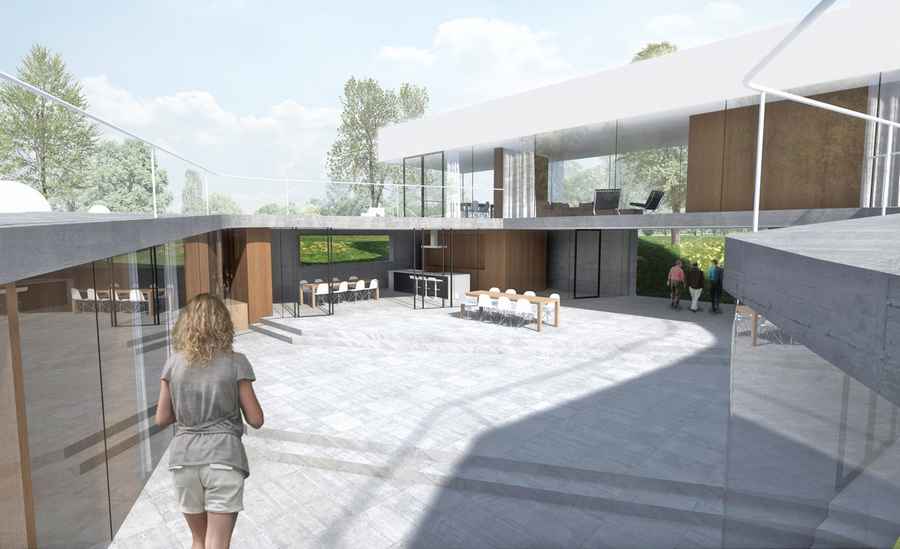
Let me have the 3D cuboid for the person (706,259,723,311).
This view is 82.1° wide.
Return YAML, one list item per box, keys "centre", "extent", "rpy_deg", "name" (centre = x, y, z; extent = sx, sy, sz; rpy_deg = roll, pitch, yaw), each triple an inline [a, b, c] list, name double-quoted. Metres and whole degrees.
- centre: [8.082, 0.336, 15.643]
  extent: [0.396, 1.722, 1.308]
  rpy_deg: [6, 14, 29]
  name: "person"

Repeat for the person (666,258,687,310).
- centre: [7.481, 0.321, 16.988]
  extent: [0.419, 1.486, 1.576]
  rpy_deg: [4, 13, 23]
  name: "person"
